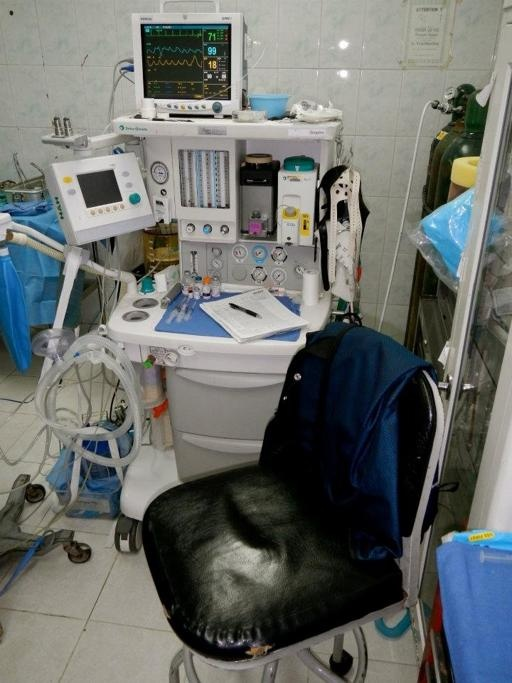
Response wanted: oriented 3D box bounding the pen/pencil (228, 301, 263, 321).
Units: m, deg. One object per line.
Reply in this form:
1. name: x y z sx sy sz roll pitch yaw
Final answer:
1. pen/pencil: -0.040 -0.114 1.956 0.016 0.016 0.145 -26 40 -36

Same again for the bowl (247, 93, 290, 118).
1. bowl: 0.051 -0.909 1.978 0.141 0.081 0.104 -6 33 -5

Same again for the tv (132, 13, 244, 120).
1. tv: -0.246 -1.050 1.929 0.375 0.339 0.234 2 29 5

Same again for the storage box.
1. storage box: -0.728 0.560 2.264 0.323 0.378 0.378 1 35 -4

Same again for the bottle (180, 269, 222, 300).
1. bottle: -0.221 -0.234 2.169 0.167 0.168 0.103 5 41 4
